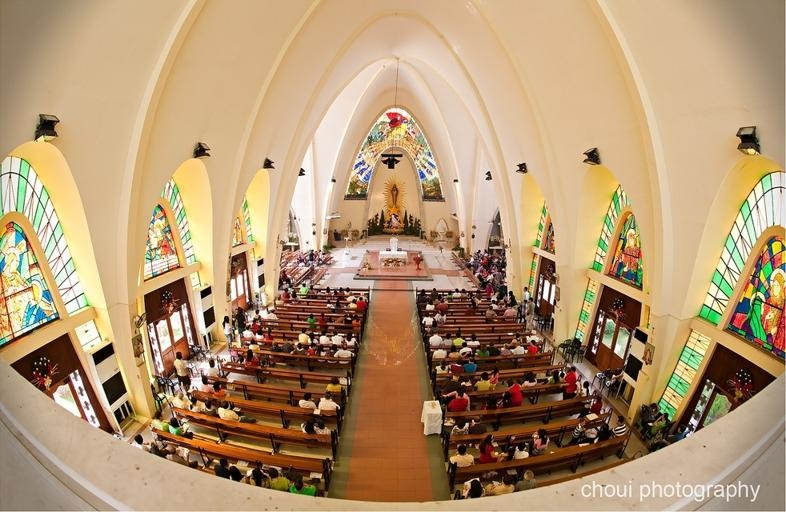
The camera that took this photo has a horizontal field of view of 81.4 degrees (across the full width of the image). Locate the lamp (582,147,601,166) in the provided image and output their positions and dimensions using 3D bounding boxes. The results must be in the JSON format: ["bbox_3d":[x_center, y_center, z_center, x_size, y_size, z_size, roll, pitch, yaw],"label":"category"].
[{"bbox_3d":[6.350,-3.069,14.276,0.480,0.487,0.479,0,4,-27],"label":"lamp"}]

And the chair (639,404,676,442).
[{"bbox_3d":[7.474,4.675,12.738,0.499,0.878,0.646,38,-28,-22],"label":"chair"}]

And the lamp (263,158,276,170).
[{"bbox_3d":[-4.932,-3.603,17.984,0.427,0.418,0.342,-1,-42,25],"label":"lamp"}]

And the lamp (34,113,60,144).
[{"bbox_3d":[-7.855,-2.833,10.337,0.552,0.777,0.510,32,28,30],"label":"lamp"}]

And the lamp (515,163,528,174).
[{"bbox_3d":[5.149,-3.440,17.918,0.263,0.386,0.573,-1,1,-11],"label":"lamp"}]
